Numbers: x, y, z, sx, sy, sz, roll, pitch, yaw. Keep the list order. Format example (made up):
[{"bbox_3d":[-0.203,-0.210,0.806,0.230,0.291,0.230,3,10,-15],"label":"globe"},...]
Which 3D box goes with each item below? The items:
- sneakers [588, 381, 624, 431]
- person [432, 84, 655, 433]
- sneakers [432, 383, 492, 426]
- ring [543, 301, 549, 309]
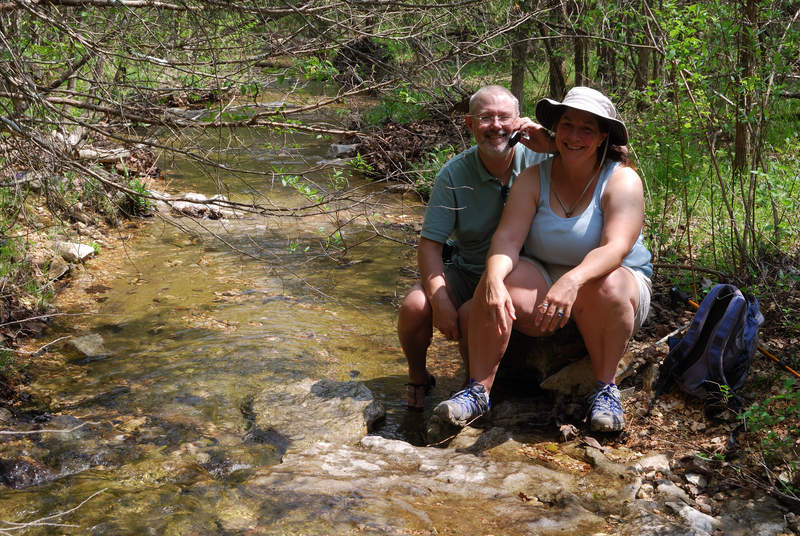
[{"bbox_3d":[1.356,0.908,4.668,0.209,0.145,0.386,0,6,13],"label":"sneakers"},{"bbox_3d":[1.112,-0.072,4.746,1.114,2.200,1.045,7,16,15],"label":"person"},{"bbox_3d":[0.440,0.878,4.737,0.235,0.242,0.650,21,7,30],"label":"sneakers"},{"bbox_3d":[0.938,0.236,4.555,0.052,0.037,0.017,15,4,39],"label":"ring"}]
